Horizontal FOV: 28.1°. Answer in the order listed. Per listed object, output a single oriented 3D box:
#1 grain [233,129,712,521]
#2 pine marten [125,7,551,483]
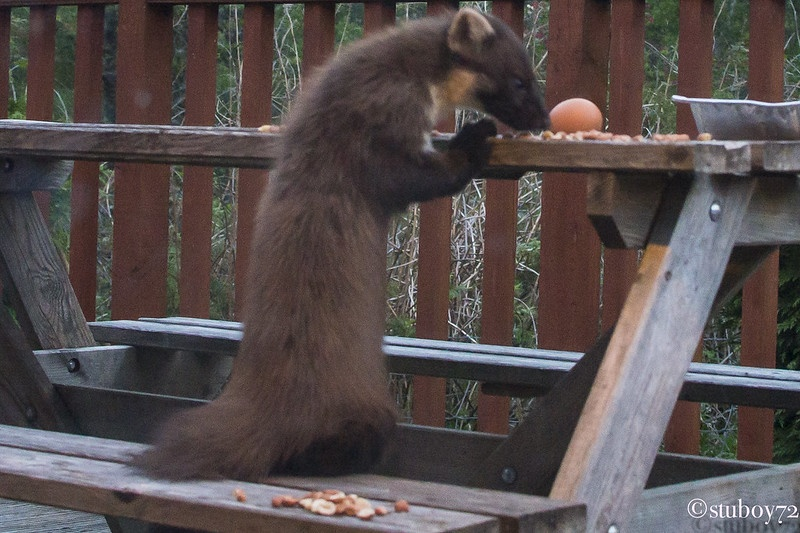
[{"bbox_3d":[0.856,0.204,7.315,1.892,1.539,0.425,4,-13,23],"label":"grain"},{"bbox_3d":[-0.072,-0.130,6.989,2.201,2.557,0.998,-7,9,-31],"label":"pine marten"}]
